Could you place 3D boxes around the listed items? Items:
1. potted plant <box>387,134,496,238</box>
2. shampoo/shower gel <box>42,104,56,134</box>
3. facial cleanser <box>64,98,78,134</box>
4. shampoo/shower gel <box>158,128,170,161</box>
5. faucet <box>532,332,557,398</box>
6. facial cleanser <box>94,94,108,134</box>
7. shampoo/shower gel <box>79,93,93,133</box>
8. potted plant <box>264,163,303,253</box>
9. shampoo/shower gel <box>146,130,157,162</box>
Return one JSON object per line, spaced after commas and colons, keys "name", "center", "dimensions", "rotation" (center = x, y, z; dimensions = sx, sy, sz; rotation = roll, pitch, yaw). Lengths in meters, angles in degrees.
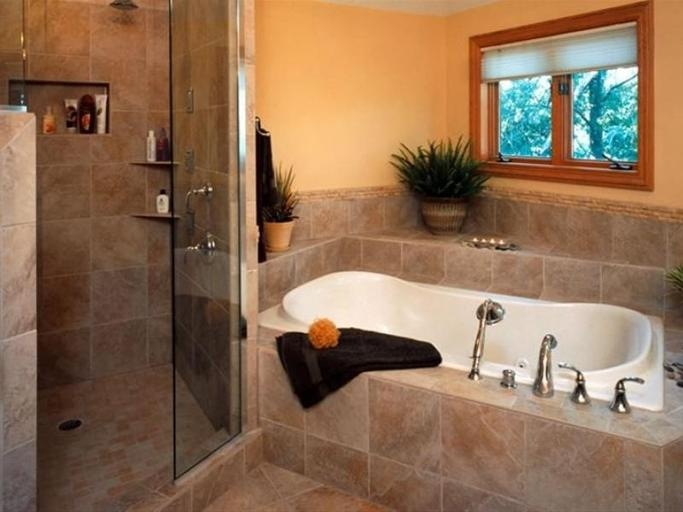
{"name": "potted plant", "center": [0.879, -0.621, 5.074], "dimensions": [0.816, 0.892, 0.905], "rotation": [-2, 3, -22]}
{"name": "shampoo/shower gel", "center": [-1.991, -0.914, 3.659], "dimensions": [0.084, 0.182, 0.080], "rotation": [-7, 11, -29]}
{"name": "facial cleanser", "center": [-1.860, -0.947, 3.715], "dimensions": [0.092, 0.240, 0.222], "rotation": [-1, -9, -29]}
{"name": "shampoo/shower gel", "center": [-1.301, -0.802, 3.920], "dimensions": [0.081, 0.231, 0.085], "rotation": [-4, 10, -16]}
{"name": "faucet", "center": [0.956, 0.496, 2.552], "dimensions": [0.089, 0.256, 0.205], "rotation": [2, 11, 20]}
{"name": "facial cleanser", "center": [-1.690, -0.985, 3.789], "dimensions": [0.077, 0.263, 0.046], "rotation": [-1, 9, 0]}
{"name": "shampoo/shower gel", "center": [-1.770, -0.974, 3.756], "dimensions": [0.112, 0.256, 0.062], "rotation": [-6, 10, -25]}
{"name": "potted plant", "center": [-0.482, -0.394, 4.388], "dimensions": [0.276, 0.625, 0.797], "rotation": [-2, 11, -4]}
{"name": "shampoo/shower gel", "center": [-1.379, -0.791, 3.904], "dimensions": [0.081, 0.216, 0.072], "rotation": [-5, 10, -20]}
